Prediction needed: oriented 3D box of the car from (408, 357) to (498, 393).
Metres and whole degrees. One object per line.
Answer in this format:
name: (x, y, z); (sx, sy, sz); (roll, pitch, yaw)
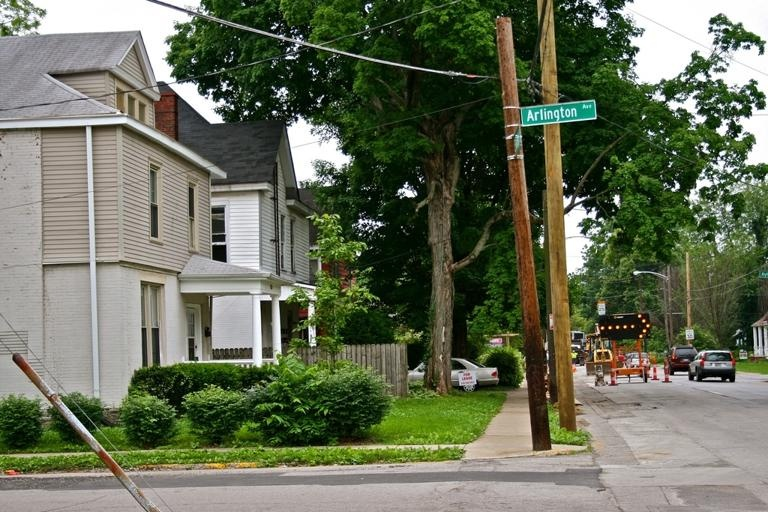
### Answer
car: (3.209, 5.383, 49.405); (4.191, 1.150, 1.555); (1, -6, -1)
